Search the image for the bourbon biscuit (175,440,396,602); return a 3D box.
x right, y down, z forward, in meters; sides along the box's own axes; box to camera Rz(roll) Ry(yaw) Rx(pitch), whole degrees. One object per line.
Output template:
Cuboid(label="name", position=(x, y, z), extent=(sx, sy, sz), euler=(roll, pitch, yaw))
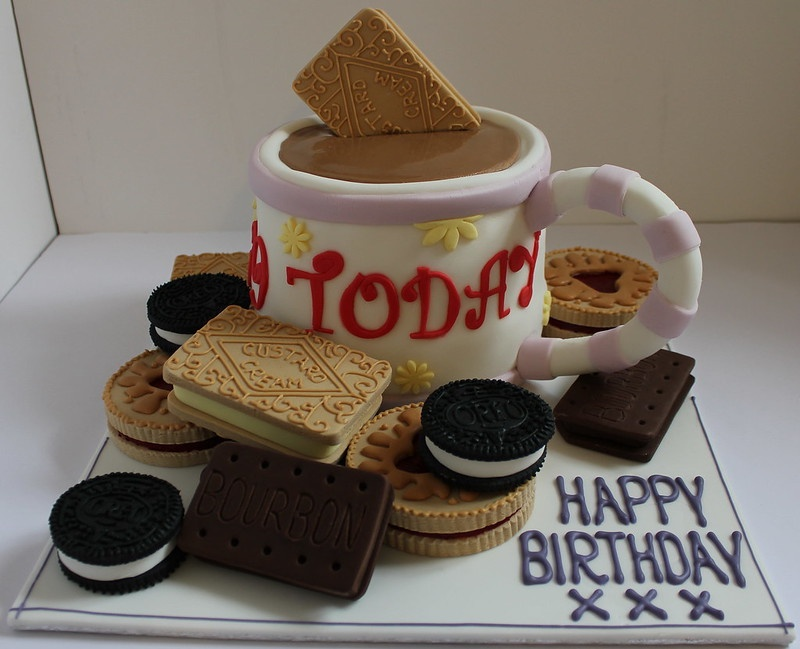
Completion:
Cuboid(label="bourbon biscuit", position=(-0.172, 0.308, 1.178), extent=(0.303, 0.070, 0.198), euler=(14, 70, 10))

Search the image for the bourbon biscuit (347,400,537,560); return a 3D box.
Cuboid(label="bourbon biscuit", position=(0.052, 0.278, 1.386), extent=(0.381, 0.208, 0.279), euler=(-3, 31, -7))

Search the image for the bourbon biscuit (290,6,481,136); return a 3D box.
Cuboid(label="bourbon biscuit", position=(-0.065, -0.514, 1.552), extent=(0.373, 0.229, 0.281), euler=(-15, 38, -26))

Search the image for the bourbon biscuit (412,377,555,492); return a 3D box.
Cuboid(label="bourbon biscuit", position=(0.161, 0.142, 1.300), extent=(0.216, 0.146, 0.250), euler=(-10, 25, -35))

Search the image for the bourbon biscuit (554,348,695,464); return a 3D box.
Cuboid(label="bourbon biscuit", position=(0.422, 0.105, 1.530), extent=(0.276, 0.165, 0.347), euler=(10, 22, 31))
